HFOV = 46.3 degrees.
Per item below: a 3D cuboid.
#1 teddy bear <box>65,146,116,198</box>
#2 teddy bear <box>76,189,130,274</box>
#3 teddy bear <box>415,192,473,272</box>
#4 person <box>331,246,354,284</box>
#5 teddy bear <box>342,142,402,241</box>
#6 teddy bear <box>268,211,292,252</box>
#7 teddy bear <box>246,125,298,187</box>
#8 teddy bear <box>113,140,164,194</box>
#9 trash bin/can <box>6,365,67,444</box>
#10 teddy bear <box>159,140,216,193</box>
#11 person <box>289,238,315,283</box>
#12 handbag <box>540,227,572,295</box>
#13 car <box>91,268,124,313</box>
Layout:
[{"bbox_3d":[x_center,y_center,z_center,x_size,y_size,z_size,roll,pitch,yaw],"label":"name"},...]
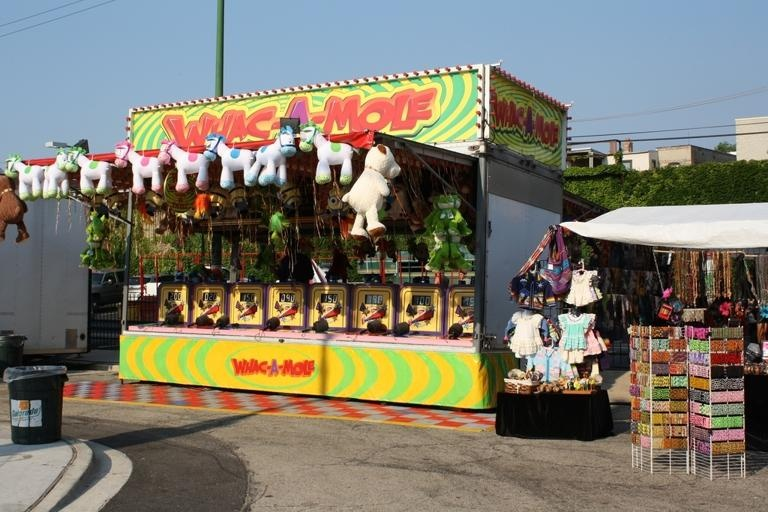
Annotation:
[{"bbox_3d":[-5.413,-1.555,16.766,0.818,0.857,0.392,2,8,19],"label":"teddy bear"},{"bbox_3d":[-6.057,-0.557,19.324,1.485,1.830,1.312,1,7,-1],"label":"teddy bear"},{"bbox_3d":[1.087,-0.377,16.674,1.212,1.724,1.151,1,-4,-9],"label":"teddy bear"},{"bbox_3d":[-1.040,0.174,20.202,0.404,0.765,0.617,0,8,0],"label":"person"},{"bbox_3d":[-0.215,-1.063,14.730,0.898,1.515,0.812,-1,8,-2],"label":"teddy bear"},{"bbox_3d":[-1.934,-0.574,17.478,0.363,0.587,0.827,-4,10,-14],"label":"teddy bear"},{"bbox_3d":[-1.884,-1.621,15.304,1.308,1.154,0.536,-8,-6,41],"label":"teddy bear"},{"bbox_3d":[-4.463,-1.633,16.487,0.890,0.976,0.343,-3,6,-10],"label":"teddy bear"},{"bbox_3d":[-5.475,2.362,14.266,1.062,1.317,1.035,-1,-9,-7],"label":"trash bin/can"},{"bbox_3d":[-3.417,-1.672,16.207,1.157,1.077,0.405,-5,-4,-9],"label":"teddy bear"},{"bbox_3d":[-1.817,0.112,20.174,0.458,0.938,1.071,0,8,3],"label":"person"},{"bbox_3d":[2.911,0.086,15.133,0.485,1.213,0.315,1,8,11],"label":"handbag"},{"bbox_3d":[-9.762,1.165,31.725,0.857,1.251,2.216,-1,8,-7],"label":"car"}]
